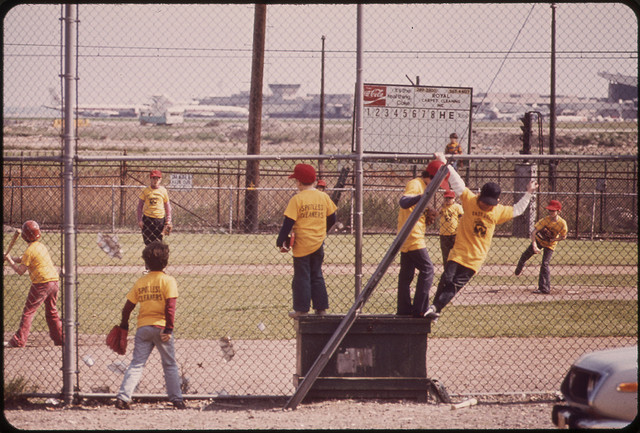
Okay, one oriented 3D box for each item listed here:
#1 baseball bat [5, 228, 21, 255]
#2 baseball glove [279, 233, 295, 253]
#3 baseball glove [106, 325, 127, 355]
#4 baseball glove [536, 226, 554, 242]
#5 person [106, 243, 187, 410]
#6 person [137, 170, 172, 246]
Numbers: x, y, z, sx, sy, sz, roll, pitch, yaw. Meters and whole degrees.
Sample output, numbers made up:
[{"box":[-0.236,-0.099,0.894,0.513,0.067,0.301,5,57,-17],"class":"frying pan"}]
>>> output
[{"box":[-7.860,0.685,30.531,0.146,0.875,0.196,39,18,-9],"class":"baseball bat"},{"box":[-0.593,0.527,22.267,0.120,0.343,0.246,22,39,0],"class":"baseball glove"},{"box":[-3.680,2.262,21.608,0.374,0.544,0.190,0,12,-9],"class":"baseball glove"},{"box":[5.310,0.443,28.014,0.373,0.353,0.146,50,29,12],"class":"baseball glove"},{"box":[-3.073,2.011,21.499,1.272,2.899,0.885,-1,12,-11],"class":"person"},{"box":[-4.152,-0.130,29.922,0.818,1.947,0.875,0,12,-8],"class":"person"}]
